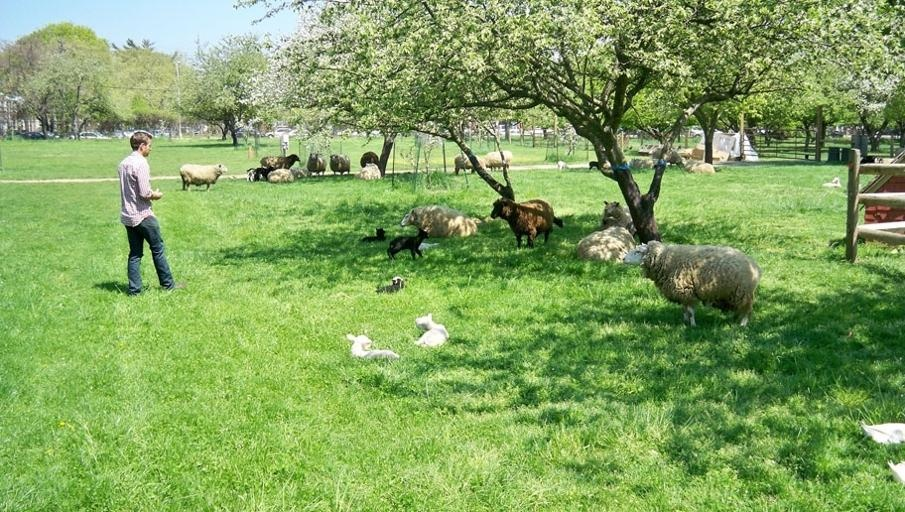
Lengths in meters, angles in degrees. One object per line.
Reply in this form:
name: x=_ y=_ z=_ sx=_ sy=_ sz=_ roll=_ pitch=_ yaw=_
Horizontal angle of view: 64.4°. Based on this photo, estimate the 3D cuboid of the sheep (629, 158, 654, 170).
sheep: x=12.069 y=-5.879 z=45.779 sx=1.256 sy=0.672 sz=3.065 roll=1 pitch=9 yaw=6

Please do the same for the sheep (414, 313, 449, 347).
sheep: x=-0.512 y=1.810 z=17.590 sx=0.545 sy=0.483 sz=0.937 roll=-4 pitch=15 yaw=-22

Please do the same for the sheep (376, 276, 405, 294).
sheep: x=-1.674 y=0.809 z=20.097 sx=0.631 sy=0.259 sz=0.452 roll=-1 pitch=6 yaw=-25

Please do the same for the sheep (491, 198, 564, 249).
sheep: x=2.350 y=-1.113 z=23.572 sx=2.106 sy=1.591 sz=0.902 roll=-7 pitch=11 yaw=-39

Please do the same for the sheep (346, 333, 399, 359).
sheep: x=-1.986 y=2.202 z=16.953 sx=1.134 sy=0.544 sz=0.540 roll=14 pitch=15 yaw=37

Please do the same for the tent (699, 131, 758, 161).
tent: x=23.137 y=-9.194 z=60.007 sx=3.403 sy=1.481 sz=4.303 roll=-4 pitch=11 yaw=-20

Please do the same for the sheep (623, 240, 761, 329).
sheep: x=6.106 y=0.688 z=17.624 sx=3.320 sy=2.004 sz=1.512 roll=5 pitch=29 yaw=33

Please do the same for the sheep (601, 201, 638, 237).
sheep: x=5.546 y=-1.467 z=24.737 sx=1.847 sy=1.249 sz=0.672 roll=8 pitch=-5 yaw=-37

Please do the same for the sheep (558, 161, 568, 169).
sheep: x=7.429 y=-6.221 z=48.610 sx=0.798 sy=0.523 sz=0.775 roll=0 pitch=0 yaw=18

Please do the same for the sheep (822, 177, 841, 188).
sheep: x=18.747 y=-3.555 z=35.317 sx=0.885 sy=0.518 sz=1.036 roll=9 pitch=16 yaw=36
